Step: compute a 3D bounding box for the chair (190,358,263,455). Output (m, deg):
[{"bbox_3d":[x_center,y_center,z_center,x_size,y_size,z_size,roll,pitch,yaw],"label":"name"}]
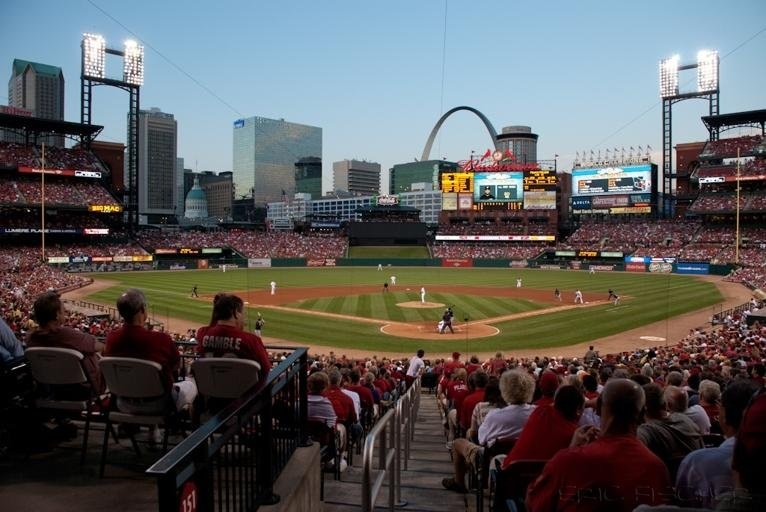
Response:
[{"bbox_3d":[-3.060,2.810,14.882,1.461,1.818,1.460,2,2,16],"label":"chair"}]
